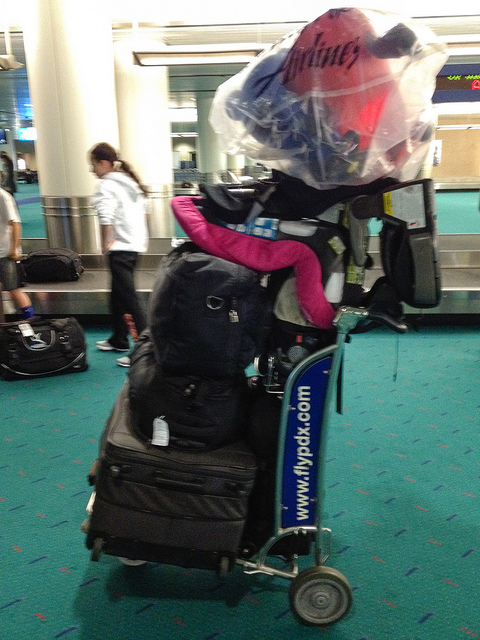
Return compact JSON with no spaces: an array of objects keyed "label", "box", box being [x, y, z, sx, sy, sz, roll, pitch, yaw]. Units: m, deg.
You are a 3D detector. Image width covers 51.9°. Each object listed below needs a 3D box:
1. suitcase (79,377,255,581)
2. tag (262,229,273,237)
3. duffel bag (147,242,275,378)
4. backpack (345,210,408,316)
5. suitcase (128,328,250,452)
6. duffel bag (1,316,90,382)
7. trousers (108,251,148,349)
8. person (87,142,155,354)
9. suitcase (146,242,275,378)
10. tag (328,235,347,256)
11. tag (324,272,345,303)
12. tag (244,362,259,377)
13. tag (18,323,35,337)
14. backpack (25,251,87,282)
[{"label":"suitcase","box":[-0.130,0.450,1.473,0.433,0.329,0.550,8,6,5]},{"label":"tag","box":[0.058,-0.196,1.104,0.018,0.011,0.017,-2,15,-33]},{"label":"duffel bag","box":[-0.078,-0.022,1.208,0.314,0.325,0.182,2,15,9]},{"label":"backpack","box":[0.304,-0.142,1.124,0.156,0.254,0.112,-5,15,9]},{"label":"suitcase","box":[-0.133,0.179,1.277,0.223,0.279,0.108,-5,11,21]},{"label":"duffel bag","box":[-1.256,0.176,3.257,0.726,0.448,0.376,-2,-2,-29]},{"label":"trousers","box":[-0.752,-0.118,3.572,0.354,0.796,0.397,1,21,-6]},{"label":"person","box":[-0.803,-0.445,3.400,0.359,1.450,0.344,-5,16,-16]},{"label":"suitcase","box":[-0.076,-0.020,1.293,0.348,0.304,0.347,7,12,-7]},{"label":"tag","box":[0.210,-0.166,1.097,0.032,0.043,0.012,-46,13,-27]},{"label":"tag","box":[0.213,-0.074,1.137,0.047,0.071,0.011,-6,17,-20]},{"label":"tag","box":[0.026,0.123,1.223,0.042,0.036,0.024,-6,-8,-7]},{"label":"tag","box":[-1.353,0.064,3.142,0.078,0.077,0.065,-12,19,-39]},{"label":"backpack","box":[-1.723,-0.493,4.559,0.403,0.124,0.280,-1,15,-2]}]
